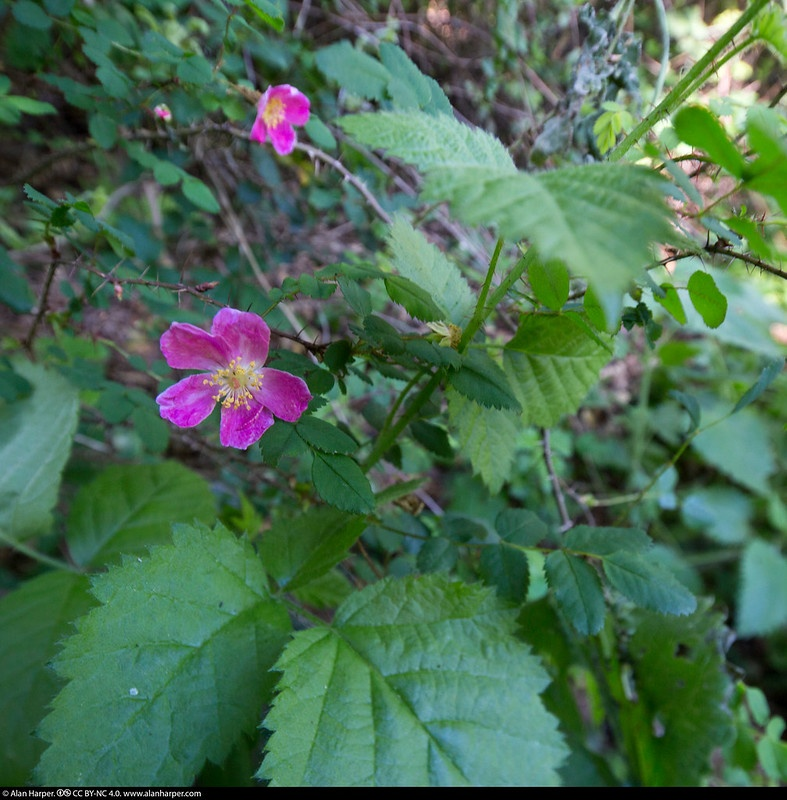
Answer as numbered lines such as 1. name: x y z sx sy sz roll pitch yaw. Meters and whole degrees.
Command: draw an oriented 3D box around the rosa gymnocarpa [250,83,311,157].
1. rosa gymnocarpa: -0.277 -0.663 1.764 0.140 0.158 0.072 -22 47 -40
